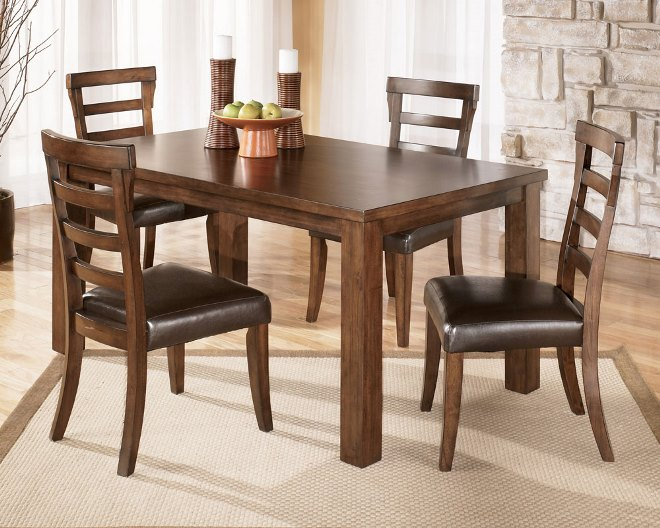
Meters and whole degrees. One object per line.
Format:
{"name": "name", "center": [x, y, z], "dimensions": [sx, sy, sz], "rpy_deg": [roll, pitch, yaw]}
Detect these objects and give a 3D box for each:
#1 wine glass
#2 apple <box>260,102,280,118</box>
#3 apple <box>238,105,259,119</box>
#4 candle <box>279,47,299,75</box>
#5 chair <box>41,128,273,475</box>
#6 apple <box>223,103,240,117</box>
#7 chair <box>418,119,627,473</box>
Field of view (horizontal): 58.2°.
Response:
{"name": "wine glass", "center": [-0.264, -0.485, 2.355], "dimensions": [0.270, 0.112, 0.255], "rpy_deg": [1, 8, 2]}
{"name": "apple", "center": [-0.238, -0.579, 2.270], "dimensions": [0.072, 0.065, 0.074], "rpy_deg": [-3, 10, 16]}
{"name": "apple", "center": [-0.314, -0.569, 2.218], "dimensions": [0.088, 0.056, 0.064], "rpy_deg": [5, 17, 17]}
{"name": "candle", "center": [-0.185, -0.859, 2.522], "dimensions": [0.080, 0.103, 0.149], "rpy_deg": [-1, 16, -5]}
{"name": "chair", "center": [-0.561, 0.098, 1.853], "dimensions": [0.552, 1.002, 0.492], "rpy_deg": [12, 21, 34]}
{"name": "apple", "center": [-0.378, -0.593, 2.296], "dimensions": [0.069, 0.062, 0.065], "rpy_deg": [3, 8, -24]}
{"name": "chair", "center": [0.595, 0.081, 1.916], "dimensions": [0.619, 0.910, 0.515], "rpy_deg": [-3, 16, 9]}
